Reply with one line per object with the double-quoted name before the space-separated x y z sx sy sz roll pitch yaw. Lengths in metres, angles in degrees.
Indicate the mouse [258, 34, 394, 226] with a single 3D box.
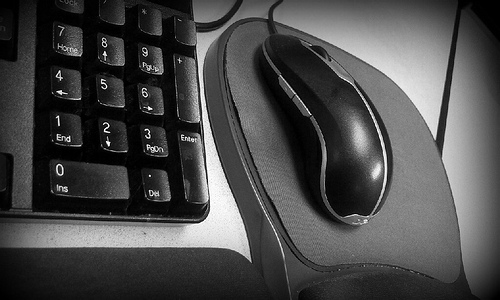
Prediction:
"mouse" 0.084 -0.041 0.629 0.136 0.270 0.086 -5 -26 -38
